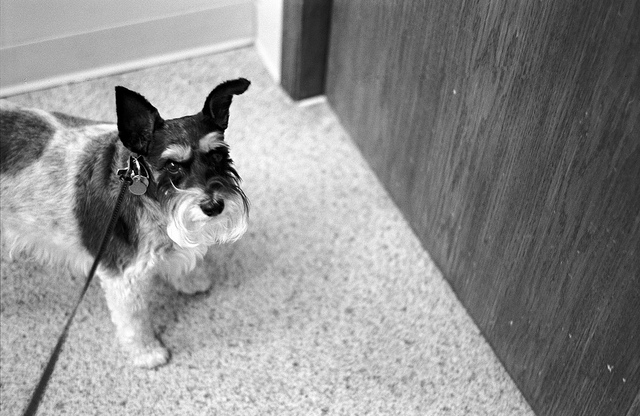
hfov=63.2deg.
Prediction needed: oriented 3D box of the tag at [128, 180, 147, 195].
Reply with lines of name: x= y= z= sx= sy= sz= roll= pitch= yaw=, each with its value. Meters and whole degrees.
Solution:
tag: x=-0.600 y=-0.068 z=1.703 sx=0.062 sy=0.052 sz=0.017 roll=12 pitch=47 yaw=12
